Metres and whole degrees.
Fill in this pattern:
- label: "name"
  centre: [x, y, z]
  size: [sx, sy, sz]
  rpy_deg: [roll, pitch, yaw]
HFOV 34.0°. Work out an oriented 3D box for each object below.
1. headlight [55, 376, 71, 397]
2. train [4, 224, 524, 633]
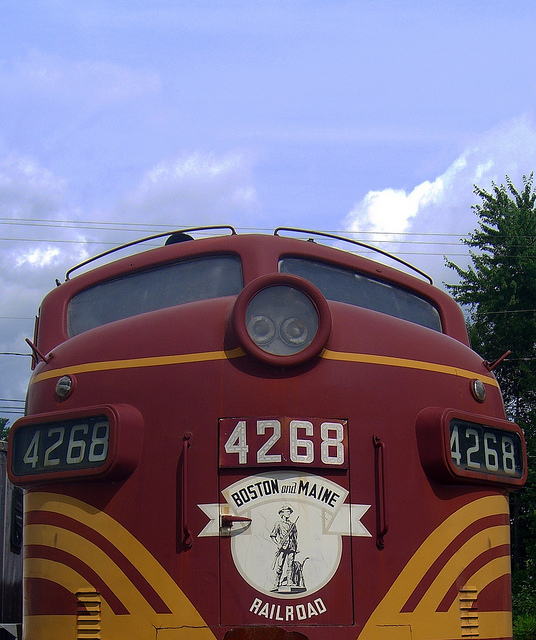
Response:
- label: "headlight"
  centre: [-1.219, 0.383, 5.238]
  size: [0.121, 0.127, 0.048]
  rpy_deg: [-11, -14, 38]
- label: "train"
  centre: [-0.109, 1.008, 6.543]
  size: [1.850, 2.244, 3.852]
  rpy_deg: [1, -19, -6]
